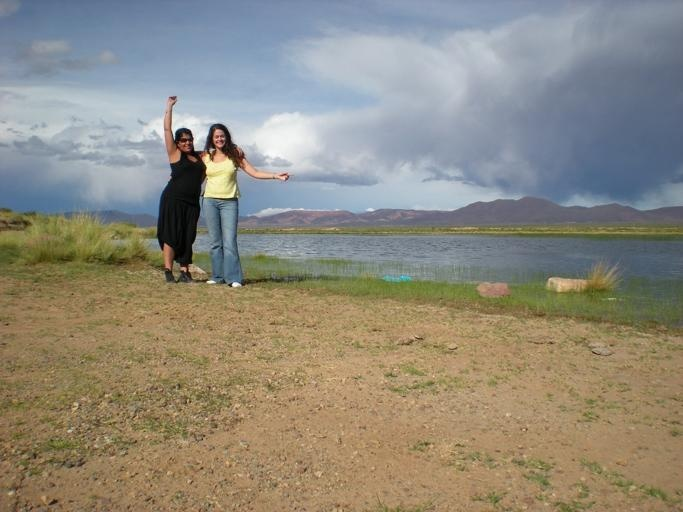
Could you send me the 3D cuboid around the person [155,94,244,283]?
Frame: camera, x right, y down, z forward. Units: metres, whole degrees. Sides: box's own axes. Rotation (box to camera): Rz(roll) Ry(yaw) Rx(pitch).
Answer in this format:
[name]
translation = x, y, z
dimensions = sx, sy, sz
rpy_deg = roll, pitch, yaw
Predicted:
[person]
translation = -3.955, -1.497, 11.468
dimensions = 0.824, 4.444, 1.307
rpy_deg = 9, 12, 16
